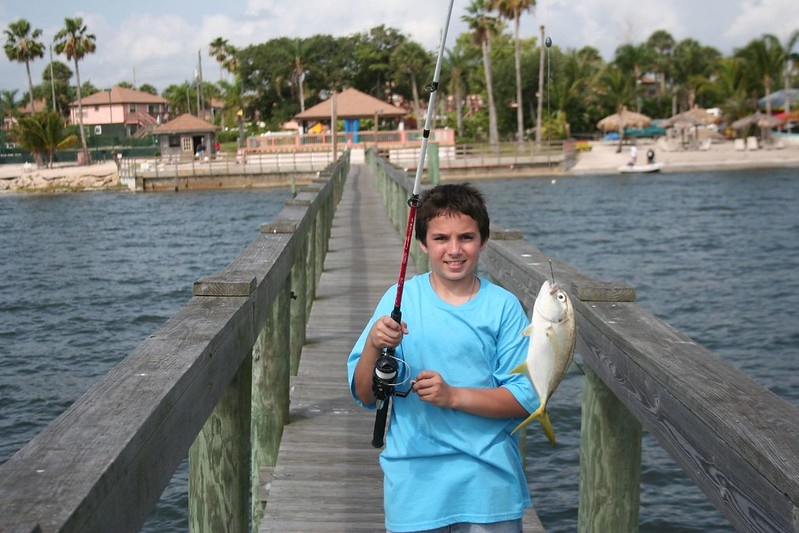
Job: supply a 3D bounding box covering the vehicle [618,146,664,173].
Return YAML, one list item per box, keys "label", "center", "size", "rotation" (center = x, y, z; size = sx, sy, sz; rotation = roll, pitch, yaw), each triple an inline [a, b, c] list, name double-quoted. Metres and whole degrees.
- label: "vehicle"
  center: [12.554, -5.585, 42.243]
  size: [2.120, 1.273, 3.556]
  rotation: [0, 10, 12]

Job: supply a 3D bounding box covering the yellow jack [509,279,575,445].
- label: "yellow jack"
  center: [0.466, 0.323, 2.663]
  size: [0.207, 0.558, 0.319]
  rotation: [2, 10, 23]

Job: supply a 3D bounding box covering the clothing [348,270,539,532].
- label: "clothing"
  center: [0.161, 0.444, 3.033]
  size: [0.813, 1.095, 0.693]
  rotation: [0, -4, 5]

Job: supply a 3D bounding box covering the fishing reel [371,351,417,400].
- label: "fishing reel"
  center: [-0.021, 0.346, 2.715]
  size: [0.159, 0.169, 0.103]
  rotation: [6, 26, 8]
